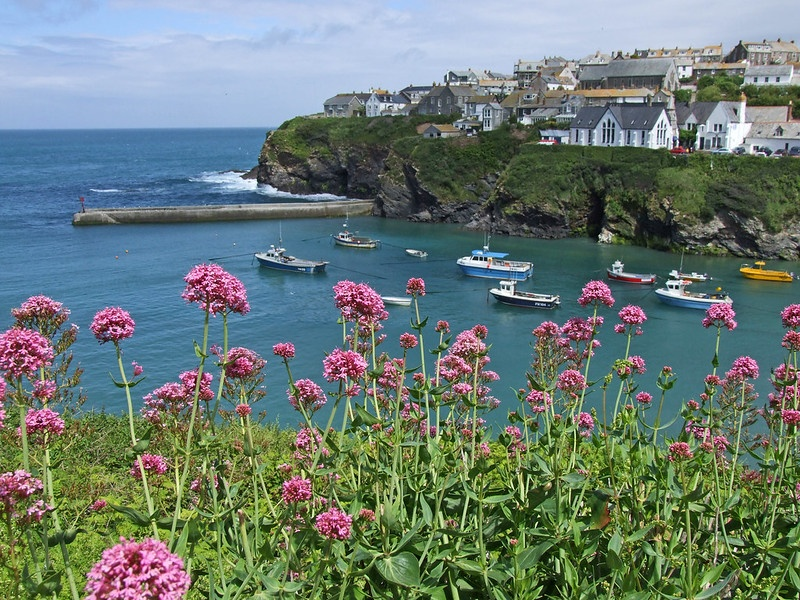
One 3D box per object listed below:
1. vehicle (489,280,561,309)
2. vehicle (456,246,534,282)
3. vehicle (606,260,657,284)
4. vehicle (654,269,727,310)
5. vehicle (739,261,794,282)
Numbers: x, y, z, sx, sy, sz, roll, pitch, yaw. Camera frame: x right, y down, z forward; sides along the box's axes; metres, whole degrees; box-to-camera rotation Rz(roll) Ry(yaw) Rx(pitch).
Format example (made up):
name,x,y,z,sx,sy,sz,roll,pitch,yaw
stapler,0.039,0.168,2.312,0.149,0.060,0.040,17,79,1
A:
name,x,y,z,sx,sy,sz,roll,pitch,yaw
vehicle,5.570,-0.128,36.175,3.026,1.318,1.322,5,5,21
vehicle,4.956,-1.741,42.183,3.424,1.450,1.847,5,9,20
vehicle,11.453,-1.259,40.348,2.277,1.067,1.127,11,12,31
vehicle,12.962,-0.471,36.165,2.494,1.200,1.348,12,8,21
vehicle,18.260,-1.308,40.304,2.718,0.965,1.310,6,8,28
